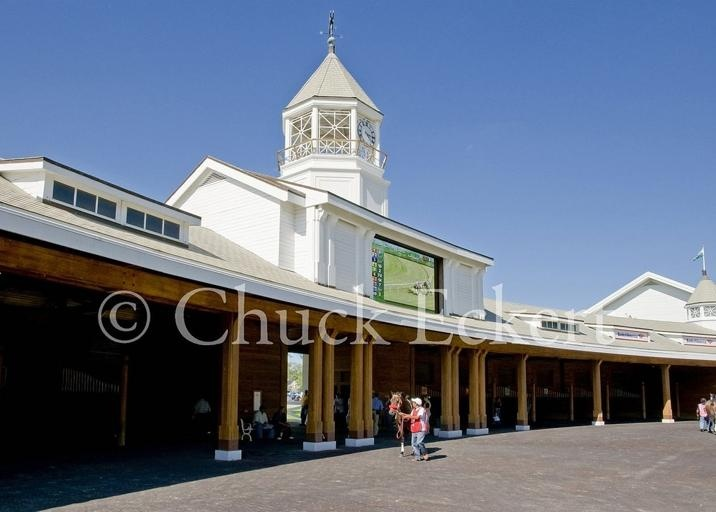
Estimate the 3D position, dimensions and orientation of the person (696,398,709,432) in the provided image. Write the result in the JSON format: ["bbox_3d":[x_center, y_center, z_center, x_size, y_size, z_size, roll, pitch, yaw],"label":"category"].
[{"bbox_3d":[15.457,7.138,30.505,0.404,1.384,1.973,-9,-17,24],"label":"person"}]

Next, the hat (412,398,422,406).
[{"bbox_3d":[1.656,4.026,18.844,0.237,0.208,0.598,-3,-16,2],"label":"hat"}]
